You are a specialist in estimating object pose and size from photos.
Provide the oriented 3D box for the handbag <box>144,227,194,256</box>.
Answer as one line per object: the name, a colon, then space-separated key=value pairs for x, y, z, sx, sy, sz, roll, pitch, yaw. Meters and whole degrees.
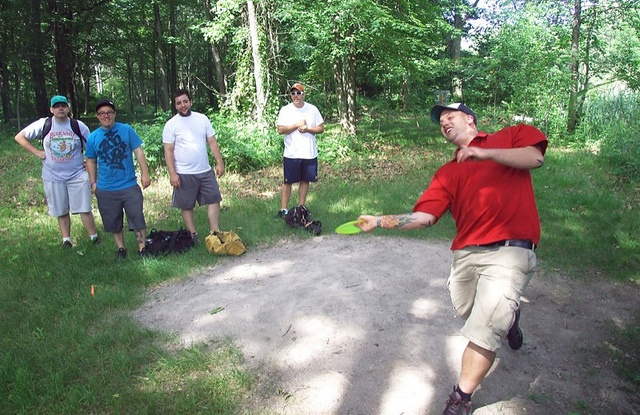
handbag: x=-3.220 y=0.764 z=10.992 sx=0.760 sy=0.350 sz=0.601 roll=0 pitch=23 yaw=2

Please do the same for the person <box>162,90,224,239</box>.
person: x=-2.680 y=-0.885 z=10.851 sx=1.152 sy=3.108 sz=0.782 roll=-5 pitch=15 yaw=-17

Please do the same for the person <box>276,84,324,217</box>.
person: x=-0.470 y=-1.286 z=11.882 sx=1.065 sy=3.047 sz=0.936 roll=-1 pitch=14 yaw=-3

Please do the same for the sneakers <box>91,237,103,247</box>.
sneakers: x=-5.066 y=0.794 z=11.548 sx=0.187 sy=0.147 sz=0.151 roll=-7 pitch=14 yaw=-34

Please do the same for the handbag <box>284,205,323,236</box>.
handbag: x=-0.358 y=0.323 z=11.579 sx=0.732 sy=0.584 sz=0.341 roll=32 pitch=14 yaw=21

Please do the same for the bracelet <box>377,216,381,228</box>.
bracelet: x=0.907 y=0.220 z=7.895 sx=0.048 sy=0.130 sz=0.096 roll=8 pitch=11 yaw=-25

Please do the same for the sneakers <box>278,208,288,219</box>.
sneakers: x=-0.881 y=0.151 z=12.037 sx=0.348 sy=0.162 sz=0.120 roll=-21 pitch=39 yaw=-32

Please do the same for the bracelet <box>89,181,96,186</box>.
bracelet: x=-4.819 y=-0.485 z=10.847 sx=0.084 sy=0.087 sz=0.087 roll=0 pitch=6 yaw=-14

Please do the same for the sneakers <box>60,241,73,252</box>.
sneakers: x=-5.677 y=0.863 z=11.426 sx=0.140 sy=0.237 sz=0.246 roll=11 pitch=34 yaw=-15

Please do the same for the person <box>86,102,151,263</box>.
person: x=-4.276 y=-0.618 z=10.780 sx=1.238 sy=3.161 sz=0.650 roll=1 pitch=14 yaw=5

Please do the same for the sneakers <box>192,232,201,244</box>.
sneakers: x=-2.709 y=0.686 z=11.136 sx=0.134 sy=0.235 sz=0.230 roll=-3 pitch=-4 yaw=-8
